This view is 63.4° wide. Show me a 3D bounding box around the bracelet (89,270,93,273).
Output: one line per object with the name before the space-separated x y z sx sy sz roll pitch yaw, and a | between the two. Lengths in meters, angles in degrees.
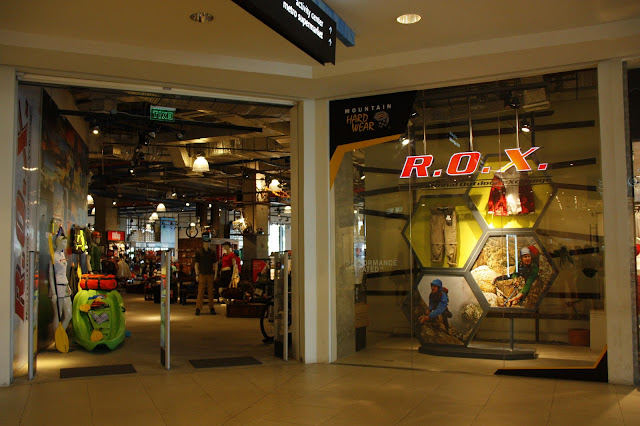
bracelet | -4.857 1.242 11.030 0.109 0.026 0.109 4 4 23

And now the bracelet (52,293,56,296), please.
bracelet | -4.493 1.375 8.812 0.047 0.043 0.079 5 3 -13

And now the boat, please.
boat | -3.928 1.876 9.348 1.035 1.022 0.947 1 -3 13

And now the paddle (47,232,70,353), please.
paddle | -4.503 1.348 9.037 0.342 2.047 0.889 0 -4 -26

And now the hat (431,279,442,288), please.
hat | 1.812 1.079 8.043 0.106 0.100 0.145 7 7 32

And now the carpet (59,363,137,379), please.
carpet | -3.332 2.362 7.807 1.078 0.049 0.629 -1 -3 -17

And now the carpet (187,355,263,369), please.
carpet | -1.502 2.362 8.267 1.078 0.054 0.613 -1 -3 -16

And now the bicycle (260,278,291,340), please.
bicycle | -0.948 2.015 10.025 0.766 0.920 1.536 2 -2 -4

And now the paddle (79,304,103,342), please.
paddle | -3.953 1.878 8.965 0.355 0.665 0.131 -1 -3 -8

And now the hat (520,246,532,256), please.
hat | 3.035 0.557 7.634 0.108 0.109 0.143 -2 -10 6
